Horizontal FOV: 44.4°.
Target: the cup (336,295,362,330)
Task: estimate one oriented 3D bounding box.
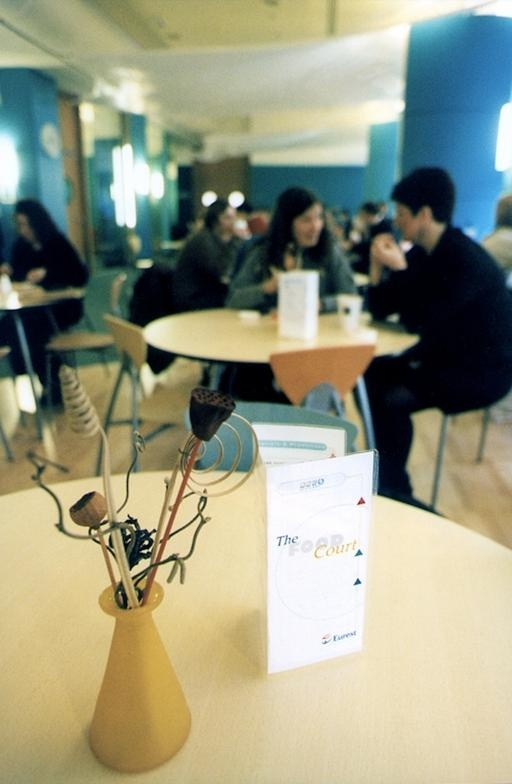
[{"bbox_3d":[0.230,-0.197,1.569,0.068,0.126,0.078,-1,11,8],"label":"cup"}]
